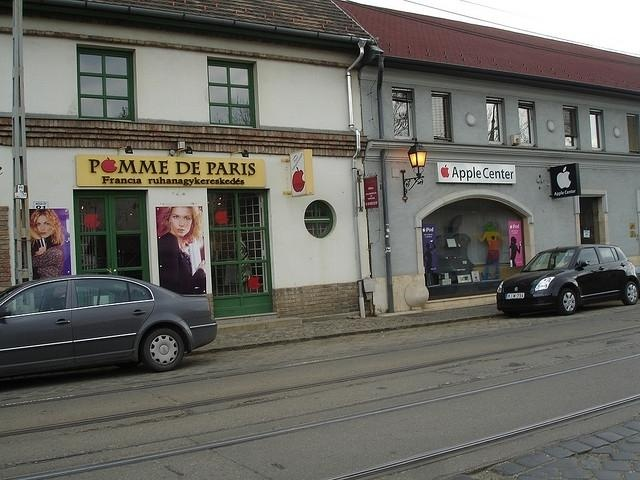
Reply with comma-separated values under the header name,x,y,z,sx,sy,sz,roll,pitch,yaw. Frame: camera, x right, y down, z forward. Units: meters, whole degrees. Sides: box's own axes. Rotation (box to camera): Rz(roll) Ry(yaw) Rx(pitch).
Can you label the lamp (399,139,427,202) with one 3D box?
name,x,y,z,sx,sy,sz,roll,pitch,yaw
lamp,3.200,-2.158,19.797,1.008,1.702,1.062,-2,1,-17
